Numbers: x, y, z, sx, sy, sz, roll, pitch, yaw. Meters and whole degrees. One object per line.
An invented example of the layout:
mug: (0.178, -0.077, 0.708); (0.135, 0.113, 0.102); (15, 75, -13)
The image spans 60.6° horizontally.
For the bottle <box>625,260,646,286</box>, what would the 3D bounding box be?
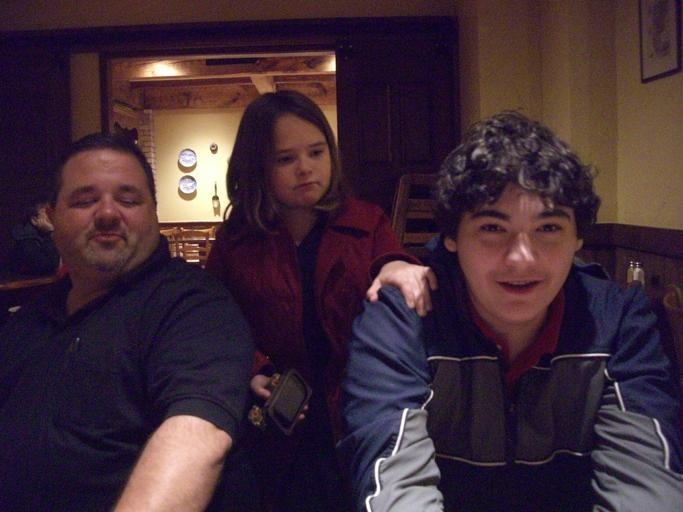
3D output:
bottle: (1.696, 0.093, 3.375); (0.099, 0.176, 0.101); (-3, 14, 1)

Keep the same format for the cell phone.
cell phone: (-0.195, 0.520, 2.101); (0.069, 0.173, 0.235); (-14, 35, 51)
